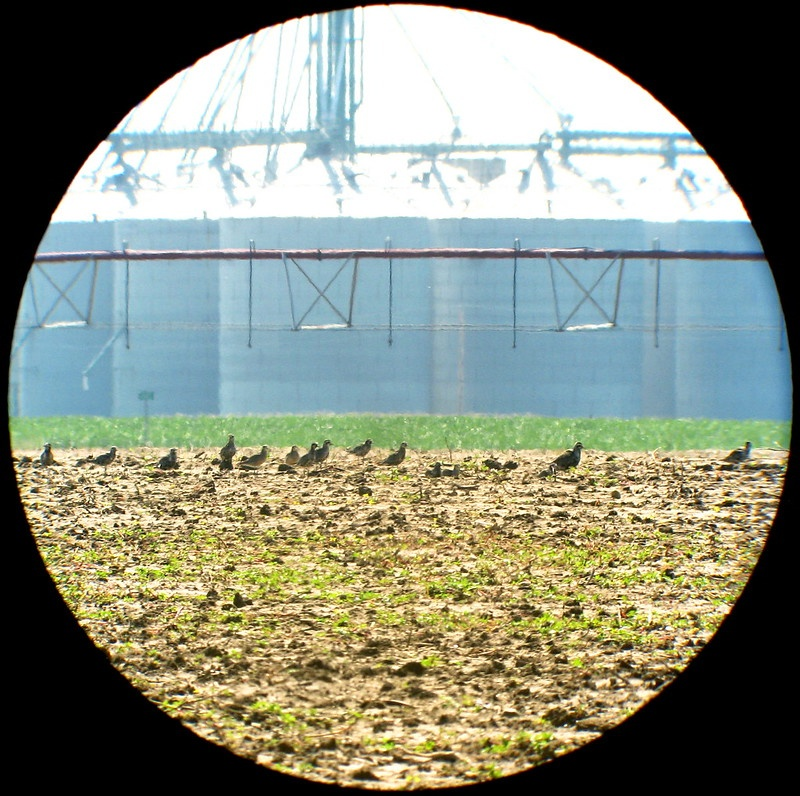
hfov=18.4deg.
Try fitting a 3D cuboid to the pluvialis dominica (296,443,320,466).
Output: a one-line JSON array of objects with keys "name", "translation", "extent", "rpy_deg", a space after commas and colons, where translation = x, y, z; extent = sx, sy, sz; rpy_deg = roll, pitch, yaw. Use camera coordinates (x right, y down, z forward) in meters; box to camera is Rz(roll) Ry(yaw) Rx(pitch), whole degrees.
[{"name": "pluvialis dominica", "translation": [-1.333, 0.913, 35.626], "extent": [0.303, 0.329, 0.576], "rpy_deg": [-3, 0, -3]}]

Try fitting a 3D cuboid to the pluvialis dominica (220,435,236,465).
[{"name": "pluvialis dominica", "translation": [-2.567, 0.871, 36.552], "extent": [0.194, 0.338, 0.430], "rpy_deg": [8, -32, -22]}]

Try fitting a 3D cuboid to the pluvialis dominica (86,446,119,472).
[{"name": "pluvialis dominica", "translation": [-4.441, 0.969, 36.254], "extent": [0.683, 0.462, 0.228], "rpy_deg": [-9, -4, 39]}]

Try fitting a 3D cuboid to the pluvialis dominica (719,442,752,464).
[{"name": "pluvialis dominica", "translation": [4.834, 0.866, 35.332], "extent": [0.385, 0.316, 0.653], "rpy_deg": [-3, 0, 7]}]

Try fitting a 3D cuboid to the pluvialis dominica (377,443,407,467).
[{"name": "pluvialis dominica", "translation": [-0.142, 0.914, 35.341], "extent": [0.435, 0.471, 0.209], "rpy_deg": [6, 6, -2]}]

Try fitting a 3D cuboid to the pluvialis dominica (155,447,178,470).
[{"name": "pluvialis dominica", "translation": [-3.422, 0.990, 36.101], "extent": [0.308, 0.315, 0.895], "rpy_deg": [-3, 0, -4]}]

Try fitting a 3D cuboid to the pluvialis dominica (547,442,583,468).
[{"name": "pluvialis dominica", "translation": [2.393, 0.937, 35.555], "extent": [0.396, 0.402, 0.719], "rpy_deg": [-3, 0, 7]}]
